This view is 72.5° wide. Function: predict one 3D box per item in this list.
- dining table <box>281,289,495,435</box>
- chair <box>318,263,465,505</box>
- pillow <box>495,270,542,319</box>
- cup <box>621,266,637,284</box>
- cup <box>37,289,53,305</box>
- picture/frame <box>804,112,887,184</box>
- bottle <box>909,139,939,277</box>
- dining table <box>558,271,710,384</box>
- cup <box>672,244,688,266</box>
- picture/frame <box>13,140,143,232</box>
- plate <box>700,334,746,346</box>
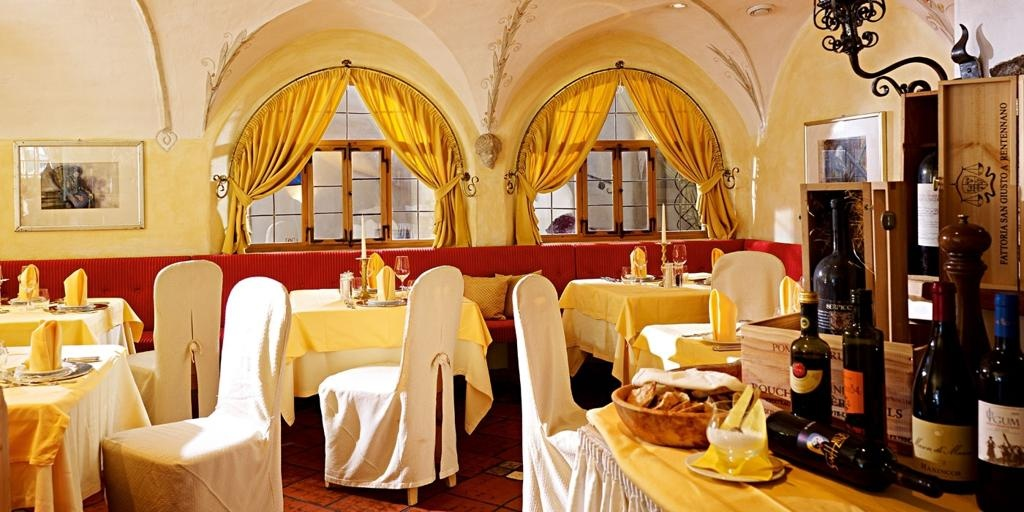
[{"bbox_3d":[-1.326,0.746,5.979,1.647,0.797,1.391,0,0,-20],"label":"dining table"},{"bbox_3d":[-0.922,1.016,5.490,1.085,1.572,0.486,-1,0,-14],"label":"chair"},{"bbox_3d":[-0.029,0.475,8.358,0.280,0.445,0.507,17,-3,-12],"label":"pillow"},{"bbox_3d":[1.231,0.192,7.131,0.204,0.189,0.200,-1,0,0],"label":"cup"},{"bbox_3d":[-4.456,0.390,6.626,0.151,0.140,0.144,1,3,0],"label":"cup"},{"bbox_3d":[3.652,-1.047,7.689,1.348,0.891,0.090,-9,5,-29],"label":"picture/frame"},{"bbox_3d":[2.145,-0.233,3.600,0.159,0.723,0.118,-2,0,9],"label":"bottle"},{"bbox_3d":[1.417,0.613,6.941,1.597,0.799,1.619,-10,10,-25],"label":"dining table"},{"bbox_3d":[1.586,-0.021,6.619,0.108,0.193,0.158,-2,-1,17],"label":"cup"},{"bbox_3d":[-5.045,-0.828,7.976,1.131,0.807,0.048,-1,0,-8],"label":"picture/frame"},{"bbox_3d":[1.475,0.589,4.912,0.254,0.077,0.239,-2,-1,14],"label":"plate"}]
